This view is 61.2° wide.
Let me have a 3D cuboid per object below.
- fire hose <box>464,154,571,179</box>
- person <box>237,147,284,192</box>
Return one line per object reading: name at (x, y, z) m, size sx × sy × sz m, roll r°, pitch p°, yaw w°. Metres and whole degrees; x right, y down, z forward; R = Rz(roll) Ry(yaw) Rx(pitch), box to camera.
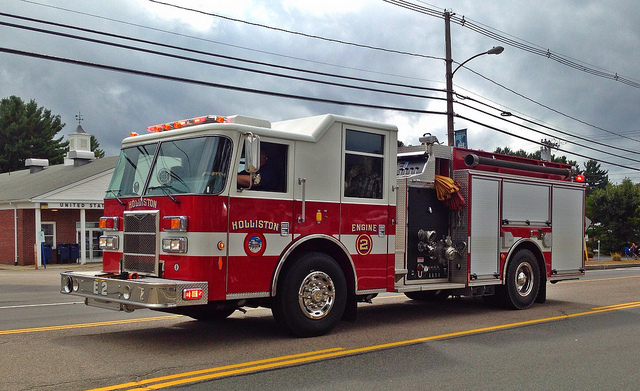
fire hose at (5.589, -0.821, 15.066) m, size 3.249 × 0.552 × 0.534 m, roll 7°, pitch -11°, yaw -13°
person at (-1.225, -0.540, 11.069) m, size 0.853 × 0.530 × 0.882 m, roll 4°, pitch 7°, yaw 17°
